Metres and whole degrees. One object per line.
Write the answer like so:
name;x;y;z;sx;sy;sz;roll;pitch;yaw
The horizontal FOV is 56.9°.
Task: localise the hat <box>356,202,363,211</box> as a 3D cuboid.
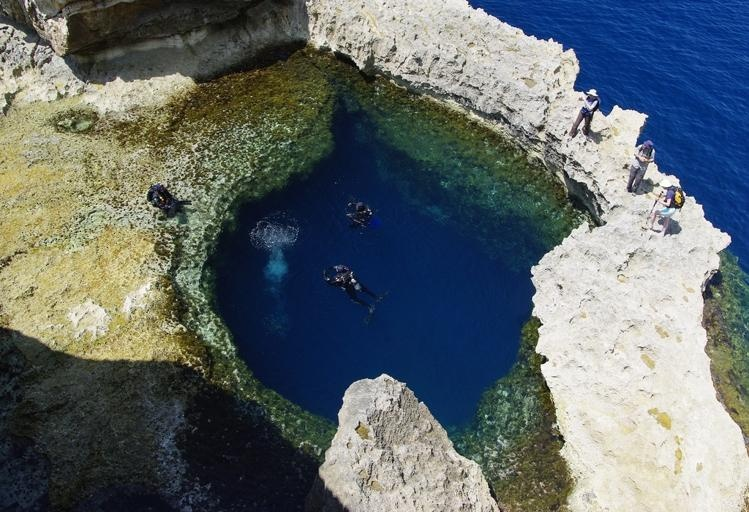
hat;-1.192;-4.063;55.827;0.619;1.032;0.946;-5;79;-2
